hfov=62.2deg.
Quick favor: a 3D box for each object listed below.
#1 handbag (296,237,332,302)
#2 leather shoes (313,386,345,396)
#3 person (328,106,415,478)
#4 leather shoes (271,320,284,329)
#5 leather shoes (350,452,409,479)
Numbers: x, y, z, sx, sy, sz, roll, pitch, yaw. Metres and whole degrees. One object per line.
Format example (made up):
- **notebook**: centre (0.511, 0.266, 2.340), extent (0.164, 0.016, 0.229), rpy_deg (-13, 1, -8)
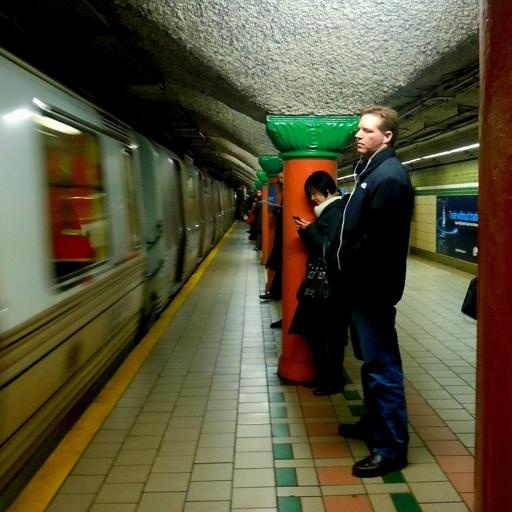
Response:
- **handbag**: centre (0.450, 0.159, 3.397), extent (0.203, 0.391, 0.319), rpy_deg (-3, 8, -8)
- **leather shoes**: centre (0.621, 1.160, 3.669), extent (0.263, 0.085, 0.078), rpy_deg (4, -3, -8)
- **person**: centre (0.723, 0.194, 2.579), extent (0.457, 2.234, 0.477), rpy_deg (-2, 8, -1)
- **leather shoes**: centre (0.267, 0.933, 5.807), extent (0.142, 0.069, 0.171), rpy_deg (0, 1, 4)
- **leather shoes**: centre (0.720, 1.242, 2.511), extent (0.370, 0.109, 0.118), rpy_deg (0, -2, -11)
